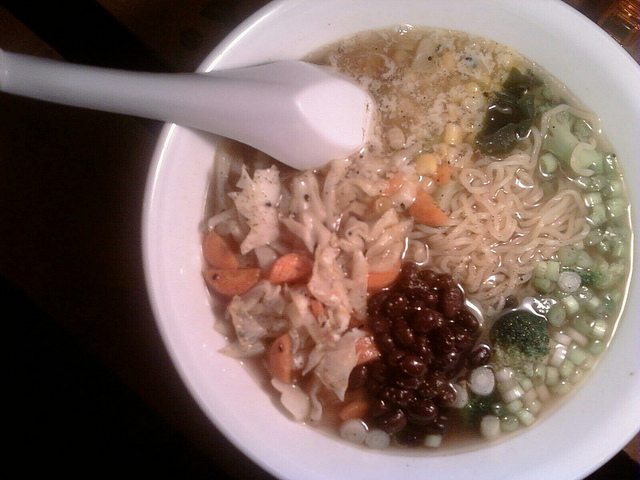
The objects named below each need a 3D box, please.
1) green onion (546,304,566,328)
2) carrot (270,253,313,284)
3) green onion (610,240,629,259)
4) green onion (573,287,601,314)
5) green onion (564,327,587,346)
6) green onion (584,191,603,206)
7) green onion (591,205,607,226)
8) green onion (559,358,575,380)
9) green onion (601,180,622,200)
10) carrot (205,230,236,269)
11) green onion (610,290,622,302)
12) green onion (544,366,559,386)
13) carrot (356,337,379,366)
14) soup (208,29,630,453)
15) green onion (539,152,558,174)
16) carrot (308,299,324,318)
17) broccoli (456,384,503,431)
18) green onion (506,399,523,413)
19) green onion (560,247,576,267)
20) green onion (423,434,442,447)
[{"bbox_3d":[0.992,0.320,2.521,0.074,0.018,0.081,2,95,-14],"label":"green onion"},{"bbox_3d":[-0.123,0.121,2.505,0.182,0.047,0.102,-23,87,-2],"label":"carrot"},{"bbox_3d":[1.251,0.039,2.517,0.032,0.059,0.032,-30,67,-37],"label":"green onion"},{"bbox_3d":[1.118,0.248,2.523,0.071,0.044,0.132,-41,84,14],"label":"green onion"},{"bbox_3d":[1.077,0.407,2.538,0.042,0.031,0.128,-44,82,16],"label":"green onion"},{"bbox_3d":[1.158,-0.170,2.558,0.056,0.015,0.058,-6,88,45],"label":"green onion"},{"bbox_3d":[1.180,-0.099,2.552,0.067,0.056,0.082,4,87,-26],"label":"green onion"},{"bbox_3d":[1.028,0.541,2.518,0.065,0.018,0.067,27,93,-5],"label":"green onion"},{"bbox_3d":[1.228,-0.212,2.538,0.064,0.027,0.078,28,92,19],"label":"green onion"},{"bbox_3d":[-0.419,0.038,2.567,0.083,0.033,0.164,-28,79,25],"label":"carrot"},{"bbox_3d":[1.235,0.233,2.520,0.036,0.010,0.042,7,84,-8],"label":"green onion"},{"bbox_3d":[0.970,0.573,2.525,0.067,0.026,0.074,2,90,14],"label":"green onion"},{"bbox_3d":[0.193,0.450,2.455,0.087,0.028,0.097,-13,87,-2],"label":"carrot"},{"bbox_3d":[0.416,0.061,2.520,1.457,0.405,1.661,2,84,0],"label":"soup"},{"bbox_3d":[0.984,-0.329,2.599,0.060,0.032,0.093,5,104,15],"label":"green onion"},{"bbox_3d":[-0.014,0.276,2.465,0.053,0.017,0.075,-32,88,-3],"label":"carrot"},{"bbox_3d":[0.647,0.714,2.501,0.225,0.234,0.164,0,110,4],"label":"broccoli"},{"bbox_3d":[0.806,0.692,2.497,0.051,0.029,0.055,27,83,-2],"label":"green onion"},{"bbox_3d":[1.046,0.071,2.547,0.064,0.044,0.077,10,91,-6],"label":"green onion"},{"bbox_3d":[0.468,0.836,2.501,0.056,0.017,0.061,16,98,-3],"label":"green onion"}]
